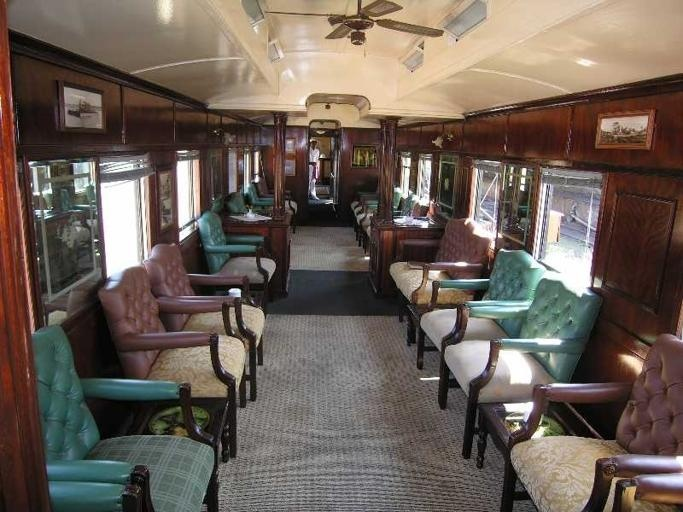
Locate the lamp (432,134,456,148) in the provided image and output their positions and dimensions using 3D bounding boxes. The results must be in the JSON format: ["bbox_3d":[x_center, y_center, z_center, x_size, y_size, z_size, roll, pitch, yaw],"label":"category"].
[{"bbox_3d":[1.497,-1.702,7.234,0.174,0.060,0.243,8,-12,-14],"label":"lamp"}]

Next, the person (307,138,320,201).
[{"bbox_3d":[-1.010,-2.936,16.731,0.525,1.833,0.514,-1,12,-8],"label":"person"}]

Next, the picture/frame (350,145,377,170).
[{"bbox_3d":[0.517,-2.439,12.485,0.843,0.808,0.467,0,5,-8],"label":"picture/frame"}]

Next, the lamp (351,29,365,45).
[{"bbox_3d":[0.129,-1.752,3.895,0.130,0.131,0.132,0,3,1],"label":"lamp"}]
